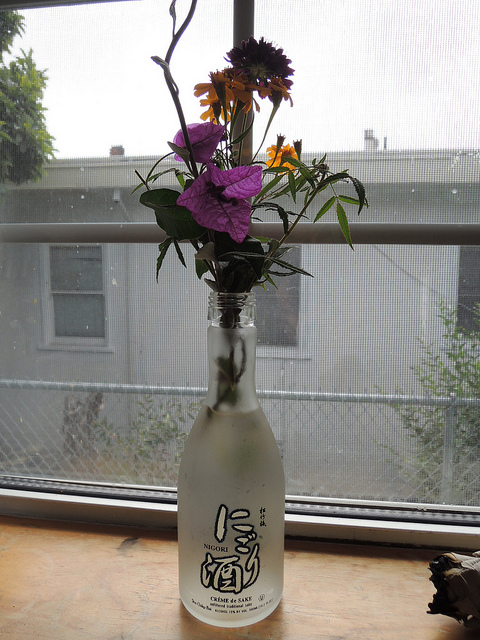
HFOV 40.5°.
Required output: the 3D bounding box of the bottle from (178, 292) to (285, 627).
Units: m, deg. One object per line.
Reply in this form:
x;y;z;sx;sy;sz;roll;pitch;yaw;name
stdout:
-0.009;0.141;0.655;0.108;0.333;0.086;-1;15;-6;bottle
